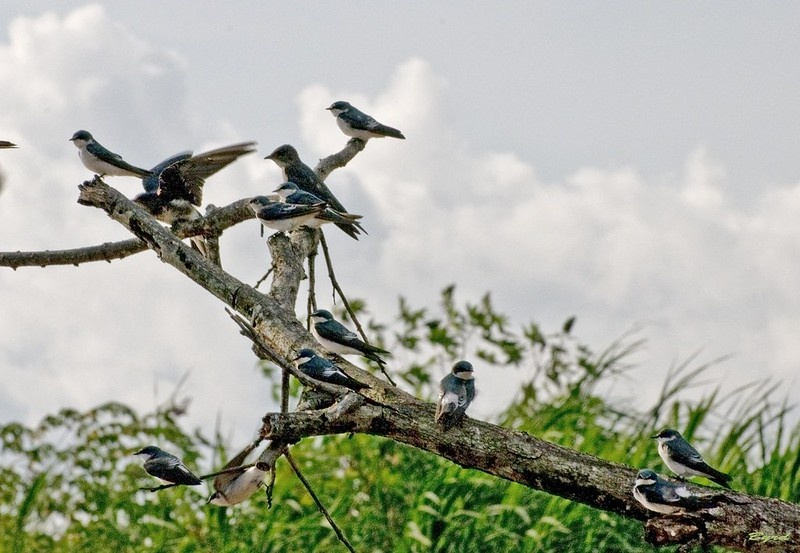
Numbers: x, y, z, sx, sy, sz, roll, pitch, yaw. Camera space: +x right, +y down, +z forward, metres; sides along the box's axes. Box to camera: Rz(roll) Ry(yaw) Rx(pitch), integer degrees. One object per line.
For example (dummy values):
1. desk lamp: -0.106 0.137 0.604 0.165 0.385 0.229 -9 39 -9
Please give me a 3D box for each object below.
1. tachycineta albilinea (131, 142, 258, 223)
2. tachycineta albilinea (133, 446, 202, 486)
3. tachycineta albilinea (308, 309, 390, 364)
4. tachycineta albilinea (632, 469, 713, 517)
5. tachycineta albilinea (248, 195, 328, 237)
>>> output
1. tachycineta albilinea: -2.484 -1.043 16.055 1.153 0.660 1.521 7 -30 -23
2. tachycineta albilinea: -2.517 2.104 14.898 0.719 0.486 0.399 2 3 3
3. tachycineta albilinea: -0.633 0.684 15.494 1.019 0.442 0.266 10 8 30
4. tachycineta albilinea: 2.807 2.262 14.193 0.741 0.475 0.428 -6 11 3
5. tachycineta albilinea: -1.355 -0.758 16.381 0.961 0.459 0.368 -2 0 24
